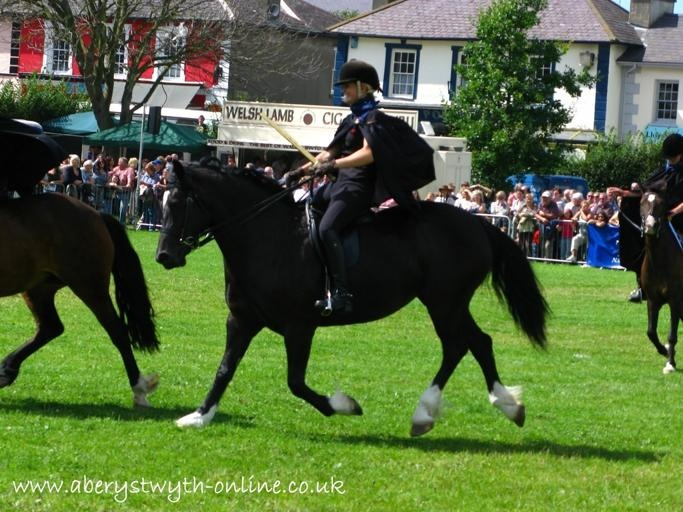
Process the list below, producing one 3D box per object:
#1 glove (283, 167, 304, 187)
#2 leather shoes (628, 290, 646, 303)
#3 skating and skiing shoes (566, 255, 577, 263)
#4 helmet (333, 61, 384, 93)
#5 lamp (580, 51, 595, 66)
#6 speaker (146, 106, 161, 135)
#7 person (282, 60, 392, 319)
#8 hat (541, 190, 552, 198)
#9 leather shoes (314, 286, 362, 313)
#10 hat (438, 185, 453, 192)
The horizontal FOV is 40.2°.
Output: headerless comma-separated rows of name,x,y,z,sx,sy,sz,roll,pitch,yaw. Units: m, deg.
glove,-0.505,-0.810,9.568,0.139,0.076,0.220,14,30,26
leather shoes,5.129,0.722,16.163,0.217,0.237,0.575,0,-3,10
skating and skiing shoes,5.562,0.102,22.568,0.241,0.101,0.096,3,2,7
helmet,0.170,-1.790,9.281,0.409,0.232,0.278,0,1,-22
lamp,9.912,-7.920,37.526,0.446,0.657,0.728,11,11,41
speaker,-4.975,-3.534,24.298,0.320,0.706,0.562,1,8,-14
person,-0.015,-0.695,9.137,0.653,2.454,0.922,4,8,0
hat,5.031,-1.511,23.053,0.284,0.248,0.477,-1,2,21
leather shoes,-0.079,0.438,8.936,0.371,0.238,0.201,3,2,0
hat,2.731,-1.769,24.659,0.341,0.103,0.357,5,-12,4
